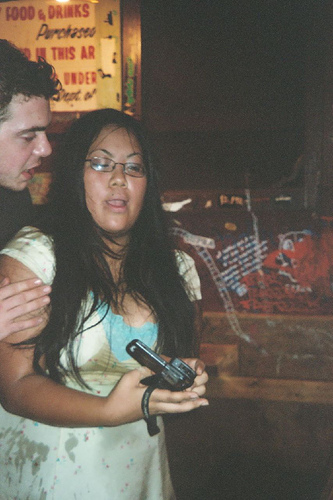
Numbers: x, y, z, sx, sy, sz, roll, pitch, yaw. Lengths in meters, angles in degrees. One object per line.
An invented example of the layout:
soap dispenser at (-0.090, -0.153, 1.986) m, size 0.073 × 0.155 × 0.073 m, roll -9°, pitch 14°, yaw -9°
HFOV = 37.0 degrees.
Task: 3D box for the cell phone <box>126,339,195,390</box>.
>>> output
cell phone at (-0.036, 0.465, 1.997) m, size 0.287 × 0.080 × 0.063 m, roll 30°, pitch 43°, yaw -7°

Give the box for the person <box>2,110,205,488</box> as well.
person at (-0.241, 0.213, 2.176) m, size 0.777 × 1.636 × 0.877 m, roll -1°, pitch 14°, yaw 5°
